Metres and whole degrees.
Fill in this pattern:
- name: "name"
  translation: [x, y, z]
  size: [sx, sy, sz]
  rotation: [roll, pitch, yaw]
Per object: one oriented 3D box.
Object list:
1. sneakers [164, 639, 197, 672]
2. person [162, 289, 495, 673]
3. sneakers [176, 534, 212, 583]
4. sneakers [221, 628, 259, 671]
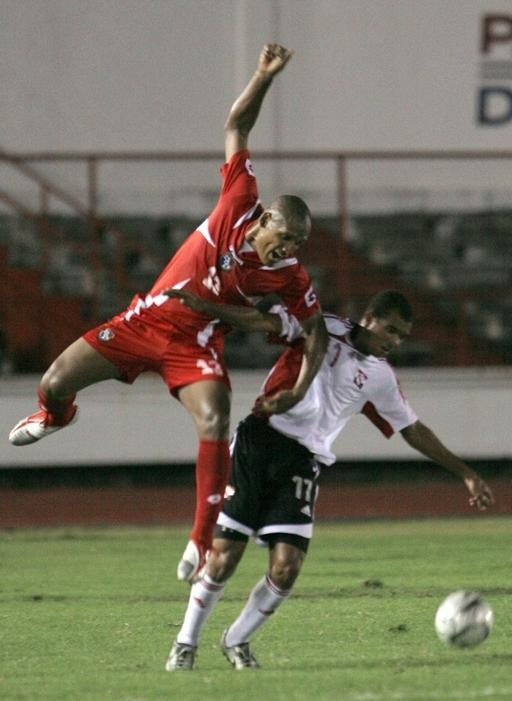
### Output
- name: "sneakers"
  translation: [-0.266, 1.073, 4.152]
  size: [0.068, 0.086, 0.126]
  rotation: [38, 14, -8]
- name: "person"
  translation: [0.192, 0.454, 4.279]
  size: [1.004, 1.362, 0.373]
  rotation: [3, 3, -27]
- name: "sneakers"
  translation: [-0.224, 0.750, 4.090]
  size: [0.074, 0.082, 0.191]
  rotation: [33, -15, 10]
- name: "sneakers"
  translation: [-0.061, 1.076, 4.197]
  size: [0.071, 0.084, 0.180]
  rotation: [-2, 46, -53]
